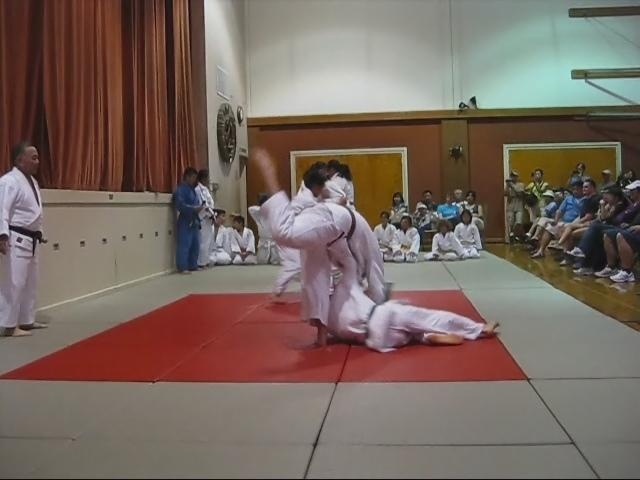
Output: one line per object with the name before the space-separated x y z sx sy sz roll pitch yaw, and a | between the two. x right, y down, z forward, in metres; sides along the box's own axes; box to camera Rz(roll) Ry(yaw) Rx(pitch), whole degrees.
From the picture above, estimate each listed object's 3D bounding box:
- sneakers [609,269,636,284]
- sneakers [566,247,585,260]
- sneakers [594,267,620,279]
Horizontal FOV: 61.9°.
sneakers | 3.457 0.426 6.142 0.292 0.162 0.117 0 2 25
sneakers | 3.403 0.178 7.143 0.137 0.100 0.214 -2 -2 6
sneakers | 3.473 0.408 6.467 0.243 0.126 0.097 -2 4 24
